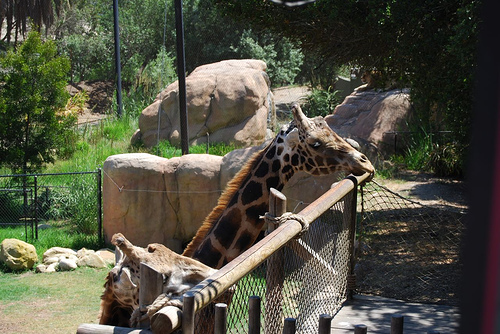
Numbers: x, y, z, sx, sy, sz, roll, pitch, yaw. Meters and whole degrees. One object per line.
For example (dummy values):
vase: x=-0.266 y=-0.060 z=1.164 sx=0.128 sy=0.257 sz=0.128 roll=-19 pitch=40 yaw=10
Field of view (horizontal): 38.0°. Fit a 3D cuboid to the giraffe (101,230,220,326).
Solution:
giraffe: x=-1.921 y=2.191 z=13.923 sx=1.938 sy=1.794 sz=0.556 roll=1 pitch=2 yaw=12
